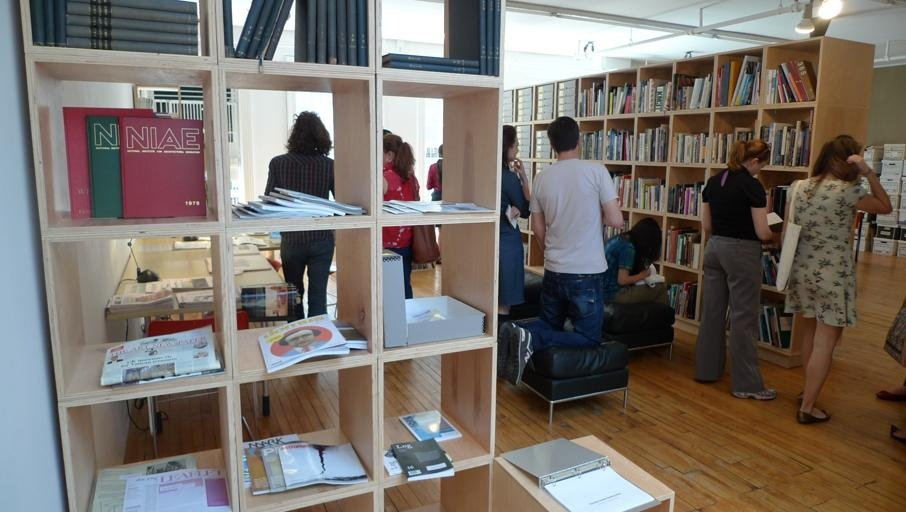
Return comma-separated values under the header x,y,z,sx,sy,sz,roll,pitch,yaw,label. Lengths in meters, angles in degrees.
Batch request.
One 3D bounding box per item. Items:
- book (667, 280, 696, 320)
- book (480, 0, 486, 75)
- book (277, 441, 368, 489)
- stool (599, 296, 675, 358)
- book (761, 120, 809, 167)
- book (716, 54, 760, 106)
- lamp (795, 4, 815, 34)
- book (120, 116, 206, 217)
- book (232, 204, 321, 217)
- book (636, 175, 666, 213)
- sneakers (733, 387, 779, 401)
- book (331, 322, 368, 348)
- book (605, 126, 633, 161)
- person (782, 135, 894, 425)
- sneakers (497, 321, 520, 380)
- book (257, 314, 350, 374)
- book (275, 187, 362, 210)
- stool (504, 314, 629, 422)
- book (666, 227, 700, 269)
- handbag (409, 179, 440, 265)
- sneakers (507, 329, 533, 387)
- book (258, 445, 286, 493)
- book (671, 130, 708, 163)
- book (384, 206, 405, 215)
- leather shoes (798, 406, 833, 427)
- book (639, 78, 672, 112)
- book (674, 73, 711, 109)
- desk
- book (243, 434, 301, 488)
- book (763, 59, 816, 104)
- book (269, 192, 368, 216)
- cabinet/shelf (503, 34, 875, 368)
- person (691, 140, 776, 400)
x,y,z,sx,sy,sz,roll,pitch,yaw,label
2.692,0.544,7.256,0.307,0.387,0.403,-6,13,-35,book
0.185,-1.302,3.691,0.046,0.403,0.054,0,14,10,book
-0.811,1.288,3.822,0.308,0.067,0.289,-1,23,-22,book
1.890,0.689,6.417,0.617,0.445,0.606,-4,8,-28,stool
3.568,-1.076,6.594,0.487,0.596,0.657,6,8,38,book
3.167,-1.894,6.771,0.238,0.521,0.491,-12,17,-35,book
4.480,-2.986,7.833,0.192,0.364,0.750,5,15,28,lamp
-1.609,-0.491,3.486,0.470,0.539,0.063,0,3,3,book
-1.027,-0.246,3.534,0.517,0.070,0.187,0,13,10,book
2.502,-0.754,7.809,0.536,0.482,0.389,-6,10,-41,book
2.873,1.318,5.858,0.353,0.137,0.133,-2,7,8,sneakers
-0.621,0.489,3.801,0.175,0.037,0.165,6,14,-1,book
2.214,-1.450,8.286,0.407,0.484,0.534,4,6,26,book
3.301,0.214,5.510,0.705,2.473,0.856,9,18,40,person
0.521,0.842,5.354,0.212,0.496,0.179,-4,8,-44,sneakers
-0.895,0.520,3.729,0.492,0.226,0.342,-7,14,-19,book
-0.847,-0.353,3.894,0.385,0.074,0.348,15,1,3,book
1.101,0.940,5.808,1.007,0.643,0.959,-2,6,-21,stool
2.767,-0.076,7.402,0.515,0.465,0.292,-2,7,-27,book
-0.237,-0.281,6.807,0.341,0.790,0.615,-7,6,0,handbag
0.559,0.856,5.323,0.203,0.480,0.184,0,8,-45,sneakers
-1.081,1.295,3.769,0.130,0.056,0.240,-2,40,-23,book
2.816,-1.233,7.355,0.475,0.423,0.351,4,7,29,book
-0.351,-0.271,3.705,0.120,0.038,0.126,-4,13,-7,book
3.208,1.434,5.505,0.311,0.111,0.118,-5,9,-15,leather shoes
2.516,-1.979,7.658,0.288,0.443,0.483,6,10,36,book
2.803,-1.899,7.230,0.499,0.437,0.339,-5,9,-34,book
-1.968,0.746,5.642,1.914,0.889,1.832,-3,12,-25,desk
-1.162,1.255,3.920,0.257,0.051,0.259,2,28,-18,book
3.428,-1.742,6.277,0.445,0.402,0.330,3,14,22,book
-0.787,-0.308,3.677,0.284,0.063,0.248,15,0,-4,book
2.494,-0.488,6.499,0.779,2.884,4.456,-5,11,-27,cabinet/shelf
2.841,0.092,6.037,0.695,2.406,0.805,-8,12,-25,person
